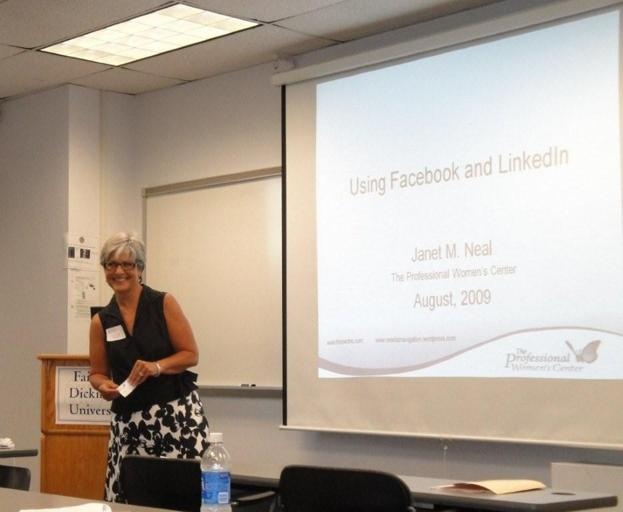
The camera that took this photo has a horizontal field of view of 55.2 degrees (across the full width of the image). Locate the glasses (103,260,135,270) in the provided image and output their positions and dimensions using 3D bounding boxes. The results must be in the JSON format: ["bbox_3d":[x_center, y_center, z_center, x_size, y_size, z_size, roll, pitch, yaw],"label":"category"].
[{"bbox_3d":[-0.919,0.044,2.822,0.148,0.041,0.053,-1,-5,0],"label":"glasses"}]

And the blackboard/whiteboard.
[{"bbox_3d":[-0.681,0.204,4.464,1.693,2.016,0.076,-3,-7,29],"label":"blackboard/whiteboard"}]

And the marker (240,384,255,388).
[{"bbox_3d":[-0.504,1.015,4.667,0.154,0.033,0.040,-5,-6,35],"label":"marker"}]
